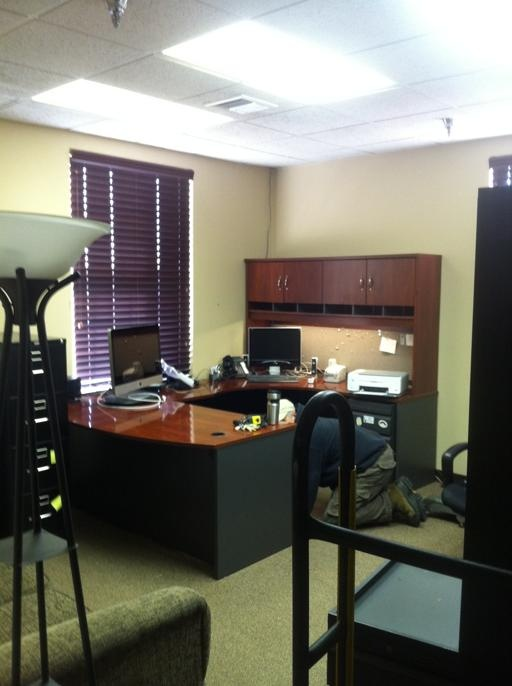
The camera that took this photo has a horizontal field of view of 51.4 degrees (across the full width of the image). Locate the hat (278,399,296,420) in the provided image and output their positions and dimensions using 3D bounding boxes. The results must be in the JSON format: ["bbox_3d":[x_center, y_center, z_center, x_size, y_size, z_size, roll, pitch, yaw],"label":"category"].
[{"bbox_3d":[0.208,0.451,3.593,0.114,0.098,0.113,-8,10,-43],"label":"hat"}]

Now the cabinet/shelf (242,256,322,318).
[{"bbox_3d":[0.258,-0.578,5.402,0.184,0.560,1.025,-3,6,-38],"label":"cabinet/shelf"}]

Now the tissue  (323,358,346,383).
[{"bbox_3d":[0.770,0.276,5.241,0.143,0.251,0.238,1,3,24],"label":"tissue "}]

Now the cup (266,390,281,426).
[{"bbox_3d":[0.107,0.418,3.471,0.087,0.213,0.182,0,5,1],"label":"cup"}]

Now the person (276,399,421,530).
[{"bbox_3d":[0.698,0.841,4.047,0.977,1.119,0.639,-12,4,18],"label":"person"}]

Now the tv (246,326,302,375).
[{"bbox_3d":[0.184,0.075,5.489,0.367,0.442,0.112,0,1,6],"label":"tv"}]
